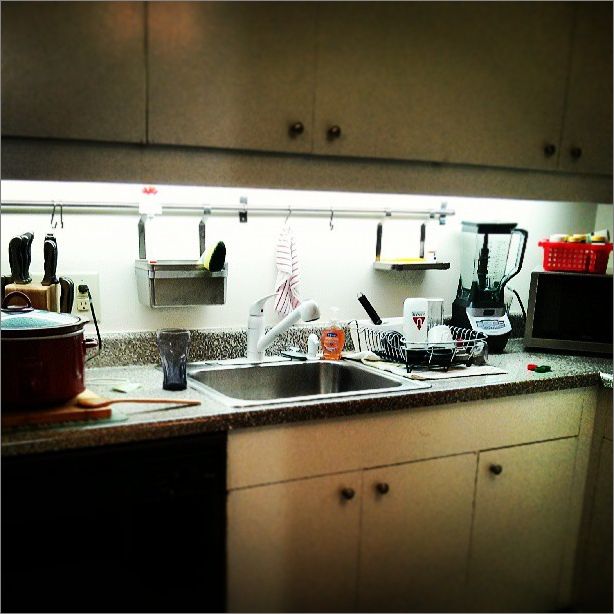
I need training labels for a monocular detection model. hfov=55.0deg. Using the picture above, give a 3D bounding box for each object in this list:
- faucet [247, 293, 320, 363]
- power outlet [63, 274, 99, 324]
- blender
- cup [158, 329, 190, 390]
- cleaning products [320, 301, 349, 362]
[{"bbox_3d":[-0.085,0.076,1.875,0.240,0.219,0.060,-2,-7,22],"label":"faucet"},{"bbox_3d":[-0.648,-0.027,1.676,0.020,0.200,0.133,-1,0,40],"label":"power outlet"},{"bbox_3d":[0.667,-0.076,2.182,0.220,0.482,0.208,-2,7,-10],"label":"blender"},{"bbox_3d":[-0.366,0.137,1.609,0.080,0.163,0.147,-2,7,-14],"label":"cup"},{"bbox_3d":[0.084,0.101,1.973,0.073,0.179,0.040,2,-17,10],"label":"cleaning products"}]
